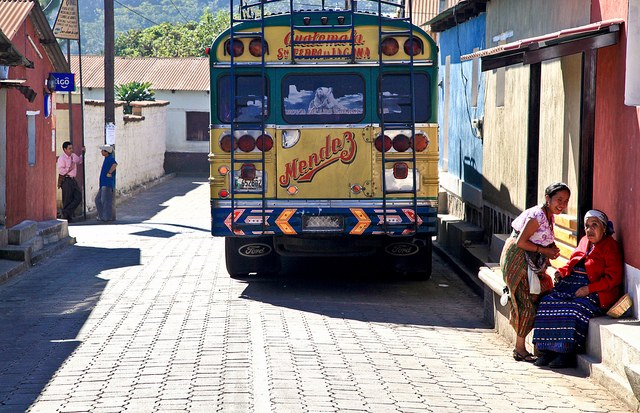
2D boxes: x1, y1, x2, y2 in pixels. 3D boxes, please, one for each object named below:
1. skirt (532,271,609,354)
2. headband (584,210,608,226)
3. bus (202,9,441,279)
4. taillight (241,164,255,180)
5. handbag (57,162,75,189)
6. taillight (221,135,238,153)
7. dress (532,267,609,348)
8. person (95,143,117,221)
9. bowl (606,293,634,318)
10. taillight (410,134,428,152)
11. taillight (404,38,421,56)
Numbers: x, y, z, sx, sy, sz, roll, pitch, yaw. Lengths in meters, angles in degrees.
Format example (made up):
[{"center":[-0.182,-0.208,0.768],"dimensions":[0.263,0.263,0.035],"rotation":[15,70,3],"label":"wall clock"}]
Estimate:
[{"center":[3.179,1.352,10.700],"dimensions":[0.634,1.005,0.958],"rotation":[0,-1,-12],"label":"skirt"},{"center":[3.550,0.147,10.529],"dimensions":[0.274,0.184,0.227],"rotation":[3,9,15],"label":"headband"},{"center":[0.181,-1.089,15.546],"dimensions":[2.966,2.986,4.768],"rotation":[-1,1,2],"label":"bus"},{"center":[-1.166,-0.574,13.324],"dimensions":[0.244,0.335,0.042],"rotation":[1,0,-5],"label":"taillight"},{"center":[-6.977,-0.718,22.264],"dimensions":[0.627,0.489,0.240],"rotation":[-20,25,-33],"label":"handbag"},{"center":[-1.513,-1.016,13.325],"dimensions":[0.250,0.260,0.059],"rotation":[-11,3,9],"label":"taillight"},{"center":[3.196,1.398,10.619],"dimensions":[0.690,0.714,1.149],"rotation":[8,39,37],"label":"dress"},{"center":[-5.932,-0.634,22.717],"dimensions":[0.553,2.091,0.679],"rotation":[-2,8,-15],"label":"person"},{"center":[3.811,1.292,10.345],"dimensions":[0.290,0.102,0.271],"rotation":[-41,-7,-6],"label":"bowl"},{"center":[1.633,-1.032,13.328],"dimensions":[0.266,0.277,0.066],"rotation":[0,1,-8],"label":"taillight"},{"center":[1.515,-2.598,13.356],"dimensions":[0.265,0.270,0.069],"rotation":[-25,13,-18],"label":"taillight"}]
